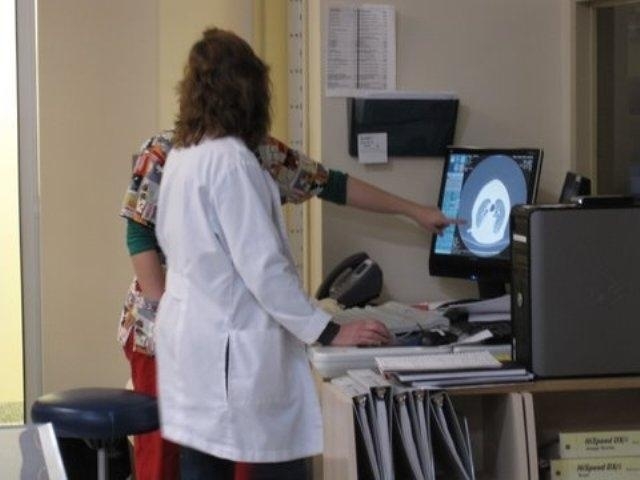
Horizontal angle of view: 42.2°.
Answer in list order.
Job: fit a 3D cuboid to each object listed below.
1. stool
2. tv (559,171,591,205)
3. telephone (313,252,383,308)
[{"bbox_3d":[-0.824,0.651,3.044,0.321,0.440,0.364,1,2,-7],"label":"stool"},{"bbox_3d":[1.006,-0.209,3.268,0.064,0.137,0.130,18,13,-9],"label":"tv"},{"bbox_3d":[0.118,0.169,3.588,0.253,0.174,0.199,-37,19,14],"label":"telephone"}]
